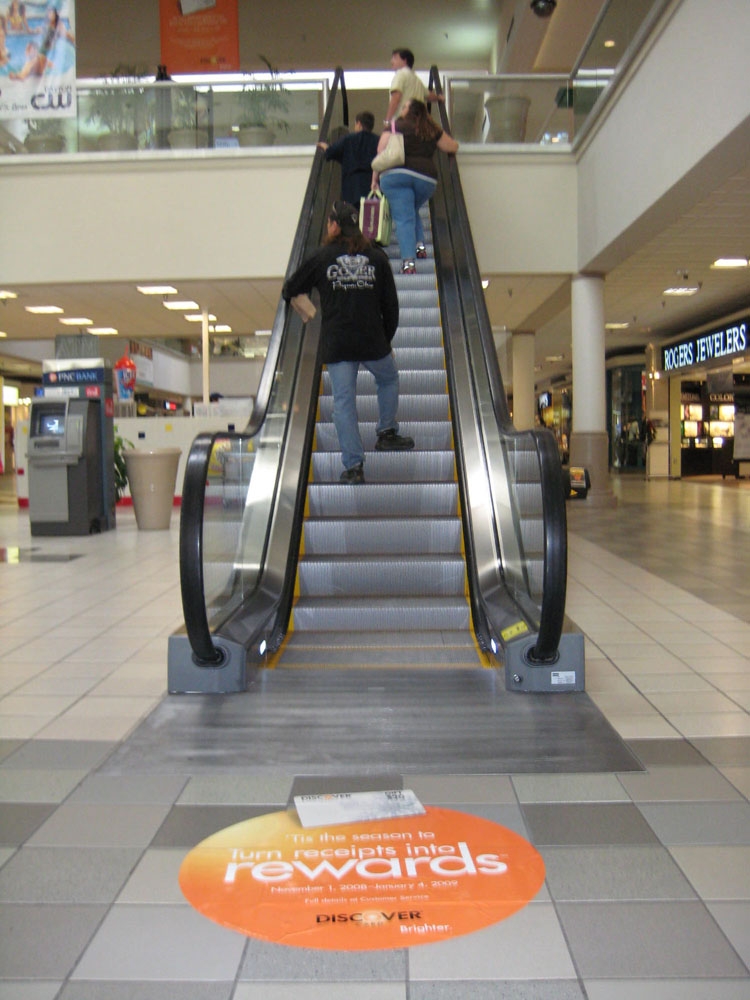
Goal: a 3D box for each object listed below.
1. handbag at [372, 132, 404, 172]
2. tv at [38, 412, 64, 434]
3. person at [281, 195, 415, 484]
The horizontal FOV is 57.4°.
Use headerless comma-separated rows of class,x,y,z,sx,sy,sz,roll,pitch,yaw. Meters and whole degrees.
handbag,0.143,-3.145,6.164,0.273,0.422,0.157,3,2,31
tv,-3.493,-0.811,7.375,0.214,0.242,0.058,-1,-16,10
person,-0.135,-0.979,4.289,0.748,1.734,0.498,-5,5,-43
